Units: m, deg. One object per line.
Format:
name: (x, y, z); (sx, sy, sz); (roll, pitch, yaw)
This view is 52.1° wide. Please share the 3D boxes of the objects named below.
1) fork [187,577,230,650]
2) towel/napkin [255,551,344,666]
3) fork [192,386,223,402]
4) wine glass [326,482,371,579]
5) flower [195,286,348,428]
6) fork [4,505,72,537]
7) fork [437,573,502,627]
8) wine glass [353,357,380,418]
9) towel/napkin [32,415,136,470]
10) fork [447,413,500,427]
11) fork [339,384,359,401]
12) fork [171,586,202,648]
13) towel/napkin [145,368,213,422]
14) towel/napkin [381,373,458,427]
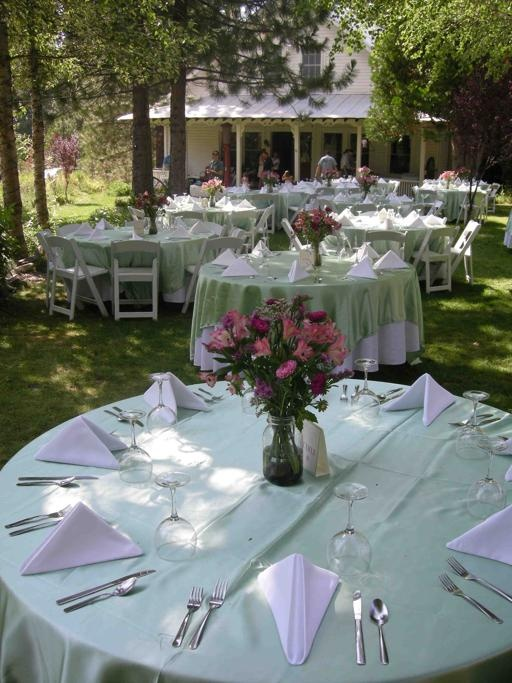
fork: (-0.097, 0.566, 1.098); (0.020, 0.017, 0.148); (-4, 28, 19)
towel/napkin: (0.090, 0.543, 1.086); (0.185, 0.061, 0.233); (-2, 24, 6)
fork: (-0.225, 0.246, 2.422); (0.050, 0.028, 0.167); (-21, 20, -28)
wine glass: (0.243, 0.425, 1.337); (0.100, 0.216, 0.301); (2, 11, 11)
flower: (0.046, 0.018, 1.643); (0.413, 0.368, 0.413); (-4, 19, -4)
fork: (-0.598, 0.495, 1.437); (0.172, 0.025, 0.047); (-16, 28, -26)
fork: (0.468, 0.557, 1.159); (0.028, 0.024, 0.164); (-5, 13, -12)
wine glass: (0.481, 0.200, 2.298); (0.129, 0.247, 0.135); (5, 11, 34)
towel/napkin: (-0.593, 0.364, 1.842); (0.208, 0.090, 0.211); (9, 14, 10)
fork: (0.915, 0.320, 2.136); (0.289, 0.041, 0.074); (-4, 10, -43)
fork: (0.426, 0.227, 2.407); (0.071, 0.069, 0.072); (1, 9, 17)
fork: (-0.140, 0.570, 1.086); (0.021, 0.020, 0.148); (-2, 21, 14)
towel/napkin: (-0.381, 0.238, 2.233); (0.195, 0.167, 0.339); (-13, -27, 23)
towel/napkin: (0.721, 0.232, 2.237); (0.229, 0.129, 0.220); (-29, 30, -33)
